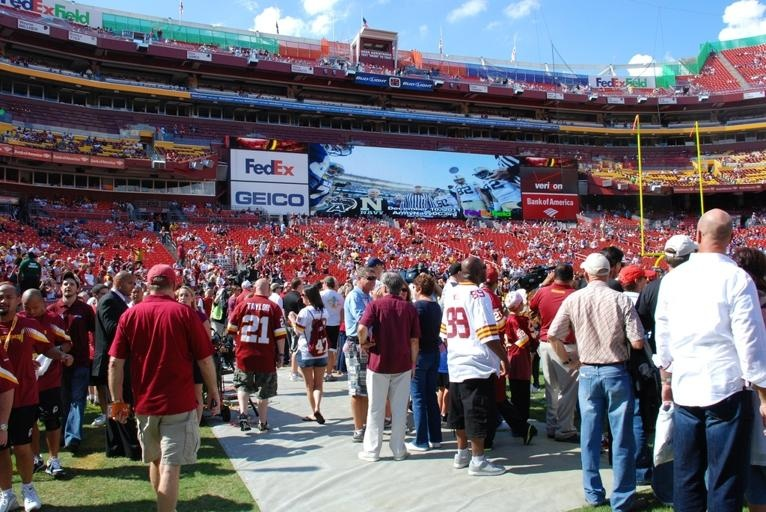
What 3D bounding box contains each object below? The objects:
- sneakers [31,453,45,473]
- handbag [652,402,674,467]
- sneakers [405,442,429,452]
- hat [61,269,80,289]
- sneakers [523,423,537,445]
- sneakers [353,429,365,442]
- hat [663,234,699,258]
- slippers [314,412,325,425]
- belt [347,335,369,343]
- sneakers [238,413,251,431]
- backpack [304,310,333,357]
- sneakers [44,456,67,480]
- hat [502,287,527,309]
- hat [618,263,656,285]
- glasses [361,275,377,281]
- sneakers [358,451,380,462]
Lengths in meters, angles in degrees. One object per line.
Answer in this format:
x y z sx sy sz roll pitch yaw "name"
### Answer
-6.919 4.165 15.760 0.204 0.320 0.213 -4 14 -25 "sneakers"
5.178 3.318 14.406 0.335 1.189 0.297 10 15 30 "handbag"
0.718 3.956 16.291 0.538 0.145 0.297 6 13 17 "sneakers"
-6.676 0.477 16.704 0.342 0.569 0.161 6 15 -3 "hat"
3.090 3.752 16.354 0.190 0.500 0.216 15 -23 -5 "sneakers"
-0.524 3.796 16.698 0.232 0.258 0.414 1 12 -4 "sneakers"
5.714 -0.202 15.054 0.508 0.408 0.515 9 14 28 "hat"
-1.407 3.616 17.436 0.147 0.336 0.141 -25 0 -2 "slippers"
-0.611 1.767 16.617 0.271 0.192 0.262 0 -11 2 "belt"
-3.026 3.634 17.099 0.264 0.387 0.226 2 13 -1 "sneakers"
-1.541 1.686 17.622 0.564 1.036 0.464 13 23 14 "backpack"
-6.496 4.239 15.594 0.239 0.248 0.564 11 -18 -43 "sneakers"
2.912 0.924 17.104 0.329 0.359 0.600 12 16 37 "hat"
5.305 0.457 16.306 0.812 0.287 0.502 -8 13 -29 "hat"
-0.295 0.482 17.210 0.339 0.129 0.091 -5 15 -31 "glasses"
-0.294 4.082 15.980 0.383 0.168 0.179 6 -1 35 "sneakers"
